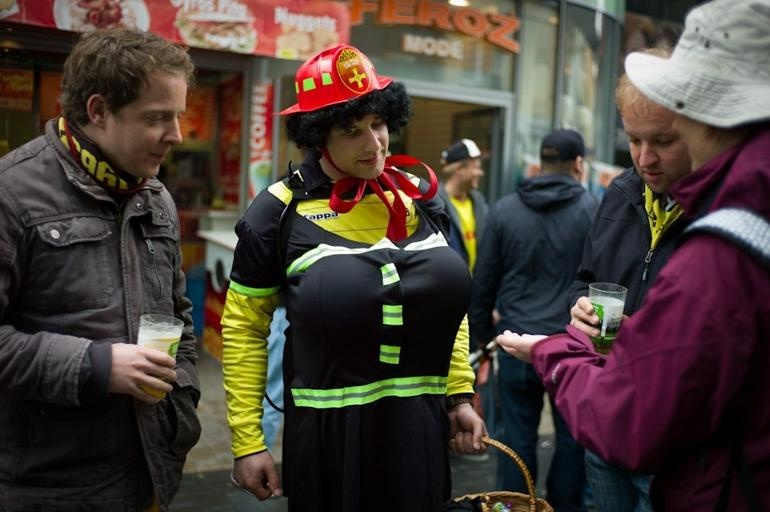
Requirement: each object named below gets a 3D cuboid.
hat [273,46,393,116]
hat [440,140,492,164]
[{"bbox_3d":[-0.223,-0.737,4.168,0.382,0.154,0.317,-11,14,35],"label":"hat"},{"bbox_3d":[0.653,-0.833,7.458,0.352,0.210,0.246,-12,7,-11],"label":"hat"}]
